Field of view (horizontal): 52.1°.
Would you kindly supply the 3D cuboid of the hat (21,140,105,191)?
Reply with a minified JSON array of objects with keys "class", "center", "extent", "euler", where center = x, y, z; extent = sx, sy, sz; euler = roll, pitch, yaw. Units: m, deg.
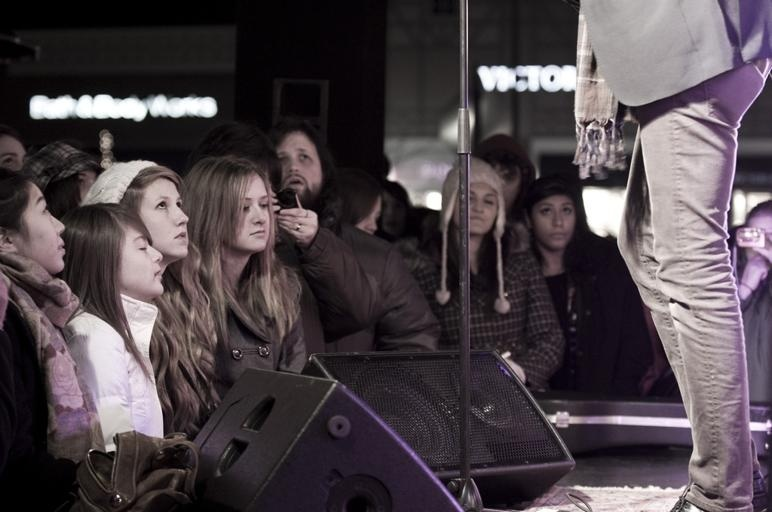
[{"class":"hat","center":[-1.550,-0.388,3.781],"extent":[0.281,0.108,0.255],"euler":[-25,6,7]}]

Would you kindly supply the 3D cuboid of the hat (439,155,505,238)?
[{"class":"hat","center":[0.433,-0.290,3.906],"extent":[0.300,0.404,0.354],"euler":[4,-4,3]}]

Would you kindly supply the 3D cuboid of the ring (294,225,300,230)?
[{"class":"ring","center":[-0.413,-0.130,3.676],"extent":[0.017,0.027,0.025],"euler":[-3,5,-42]}]

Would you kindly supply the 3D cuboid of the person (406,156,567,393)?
[{"class":"person","center":[0.423,0.205,3.922],"extent":[0.852,1.333,0.706],"euler":[2,2,10]}]

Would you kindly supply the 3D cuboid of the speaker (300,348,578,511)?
[{"class":"speaker","center":[0.227,0.456,2.944],"extent":[0.697,0.504,0.656],"euler":[7,5,-36]}]

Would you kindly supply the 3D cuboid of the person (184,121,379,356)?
[{"class":"person","center":[-0.453,0.142,3.987],"extent":[0.720,1.746,0.527],"euler":[4,19,0]}]
